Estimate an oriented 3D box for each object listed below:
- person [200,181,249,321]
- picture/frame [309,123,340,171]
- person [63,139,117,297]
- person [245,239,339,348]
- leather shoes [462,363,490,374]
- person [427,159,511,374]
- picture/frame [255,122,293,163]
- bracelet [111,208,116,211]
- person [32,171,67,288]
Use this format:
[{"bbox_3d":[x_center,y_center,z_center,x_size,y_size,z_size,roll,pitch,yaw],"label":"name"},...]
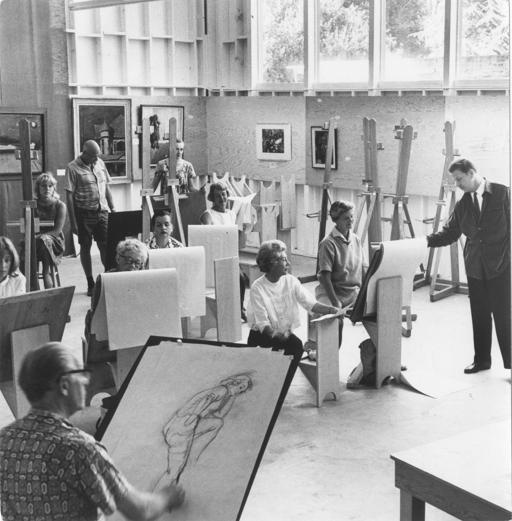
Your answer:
[{"bbox_3d":[-0.347,-0.127,7.466,0.510,1.492,1.659,0,10,-1],"label":"person"},{"bbox_3d":[1.018,-1.681,9.729,0.035,0.916,0.677,-6,10,-30],"label":"picture/frame"},{"bbox_3d":[-2.131,-0.562,8.607,0.575,1.937,0.624,-5,10,-26],"label":"person"},{"bbox_3d":[0.313,0.154,5.094,0.669,1.284,0.575,3,15,17],"label":"person"},{"bbox_3d":[1.895,0.937,5.793,0.253,0.135,0.095,-2,1,-18],"label":"leather shoes"},{"bbox_3d":[1.893,0.050,5.745,0.614,1.796,0.416,5,10,32],"label":"person"},{"bbox_3d":[0.315,-1.945,10.859,0.023,0.571,0.566,-4,8,-38],"label":"picture/frame"},{"bbox_3d":[-1.826,-0.648,8.574,0.041,0.051,0.070,-2,-2,-27],"label":"bracelet"},{"bbox_3d":[-2.260,-0.299,7.399,0.323,1.306,1.166,-3,10,-17],"label":"person"}]
